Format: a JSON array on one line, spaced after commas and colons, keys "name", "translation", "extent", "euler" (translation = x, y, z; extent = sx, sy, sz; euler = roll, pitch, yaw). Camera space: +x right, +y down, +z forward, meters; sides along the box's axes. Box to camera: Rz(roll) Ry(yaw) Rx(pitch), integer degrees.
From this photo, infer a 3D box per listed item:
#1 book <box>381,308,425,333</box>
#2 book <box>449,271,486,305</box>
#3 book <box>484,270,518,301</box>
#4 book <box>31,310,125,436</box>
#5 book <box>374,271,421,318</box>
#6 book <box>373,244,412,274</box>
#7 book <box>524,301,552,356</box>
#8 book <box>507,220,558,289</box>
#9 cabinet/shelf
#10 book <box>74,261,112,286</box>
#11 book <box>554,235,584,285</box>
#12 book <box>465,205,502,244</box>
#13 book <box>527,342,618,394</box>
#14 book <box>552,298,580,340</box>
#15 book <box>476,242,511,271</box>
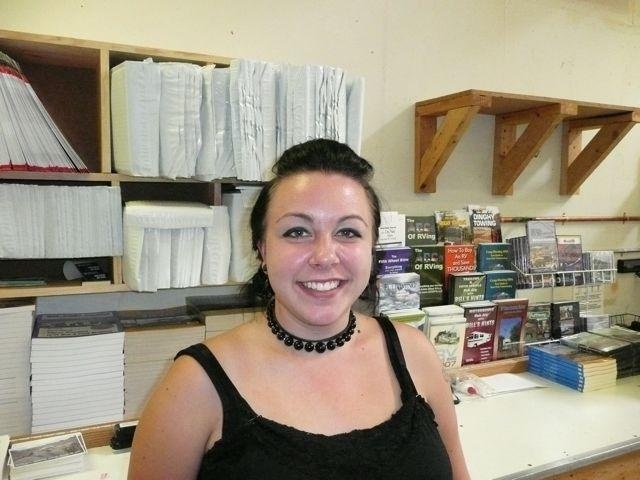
[{"name": "book", "translation": [0.353, 0.350, 2.312], "extent": [0.255, 0.130, 0.236], "euler": [0, -5, 6]}, {"name": "book", "translation": [0.718, 0.236, 2.460], "extent": [0.167, 0.149, 0.053], "euler": [-1, 4, -16]}, {"name": "book", "translation": [0.908, 0.231, 2.529], "extent": [0.153, 0.126, 0.052], "euler": [-2, 3, -21]}, {"name": "book", "translation": [-0.936, 0.501, 1.953], "extent": [0.329, 0.338, 0.237], "euler": [-4, 2, -22]}, {"name": "book", "translation": [0.342, 0.253, 2.278], "extent": [0.227, 0.160, 0.072], "euler": [-1, 0, -22]}, {"name": "book", "translation": [0.325, 0.089, 2.291], "extent": [0.146, 0.121, 0.050], "euler": [-1, -1, -16]}, {"name": "book", "translation": [1.132, 0.432, 2.593], "extent": [0.207, 0.215, 0.051], "euler": [0, 2, -27]}, {"name": "book", "translation": [1.152, 0.075, 2.665], "extent": [0.273, 0.354, 0.093], "euler": [-3, 2, -6]}, {"name": "cabinet/shelf", "translation": [-0.543, -0.265, 1.813], "extent": [1.209, 0.973, 0.393], "euler": [-1, 0, -40]}, {"name": "book", "translation": [-0.880, 0.120, 1.937], "extent": [0.089, 0.029, 0.120], "euler": [-2, 24, -41]}, {"name": "book", "translation": [1.349, 0.112, 2.708], "extent": [0.201, 0.270, 0.051], "euler": [-4, 3, -27]}, {"name": "book", "translation": [0.851, -0.079, 2.628], "extent": [0.205, 0.229, 0.033], "euler": [3, -11, -28]}, {"name": "book", "translation": [1.194, 0.611, 2.418], "extent": [0.199, 0.095, 0.264], "euler": [-1, 0, -27]}, {"name": "book", "translation": [1.302, 0.427, 2.654], "extent": [0.197, 0.185, 0.110], "euler": [0, -2, -24]}, {"name": "book", "translation": [0.883, 0.086, 2.557], "extent": [0.145, 0.126, 0.050], "euler": [0, 3, -19]}]
